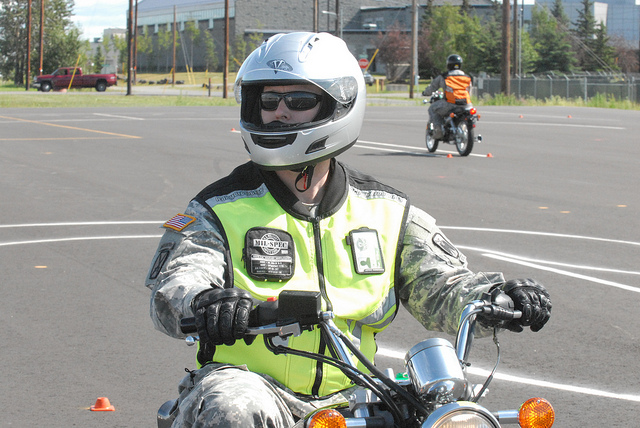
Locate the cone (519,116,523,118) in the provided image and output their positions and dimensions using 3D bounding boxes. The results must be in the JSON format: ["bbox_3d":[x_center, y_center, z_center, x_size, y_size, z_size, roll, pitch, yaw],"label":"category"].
[{"bbox_3d":[9.034,-4.370,31.625,0.170,0.089,0.238,6,15,3],"label":"cone"}]

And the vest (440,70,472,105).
[{"bbox_3d":[3.650,-3.328,18.652,0.813,1.170,0.596,4,-15,-12],"label":"vest"}]

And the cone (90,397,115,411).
[{"bbox_3d":[-1.607,1.403,5.144,0.102,0.054,0.112,1,9,-4],"label":"cone"}]

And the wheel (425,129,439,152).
[{"bbox_3d":[2.962,-1.964,18.675,0.220,0.580,0.595,-1,12,-7],"label":"wheel"}]

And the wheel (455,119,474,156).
[{"bbox_3d":[3.703,-1.947,17.952,0.361,0.890,0.867,-1,12,-6],"label":"wheel"}]

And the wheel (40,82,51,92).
[{"bbox_3d":[-23.581,-10.824,59.846,0.958,0.757,0.423,-9,15,-39],"label":"wheel"}]

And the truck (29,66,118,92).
[{"bbox_3d":[-21.718,-11.732,61.476,2.132,2.144,6.969,9,16,35],"label":"truck"}]

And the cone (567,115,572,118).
[{"bbox_3d":[11.212,-4.372,31.515,0.188,0.102,0.280,-2,11,-1],"label":"cone"}]

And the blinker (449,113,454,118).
[{"bbox_3d":[3.438,-2.581,18.350,0.080,0.127,0.038,-3,-2,25],"label":"blinker"}]

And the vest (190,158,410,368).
[{"bbox_3d":[-0.078,0.325,3.933,1.152,1.286,0.680,-3,5,-20],"label":"vest"}]

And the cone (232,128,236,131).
[{"bbox_3d":[-2.910,-2.794,23.264,0.075,0.093,0.139,0,4,-3],"label":"cone"}]
